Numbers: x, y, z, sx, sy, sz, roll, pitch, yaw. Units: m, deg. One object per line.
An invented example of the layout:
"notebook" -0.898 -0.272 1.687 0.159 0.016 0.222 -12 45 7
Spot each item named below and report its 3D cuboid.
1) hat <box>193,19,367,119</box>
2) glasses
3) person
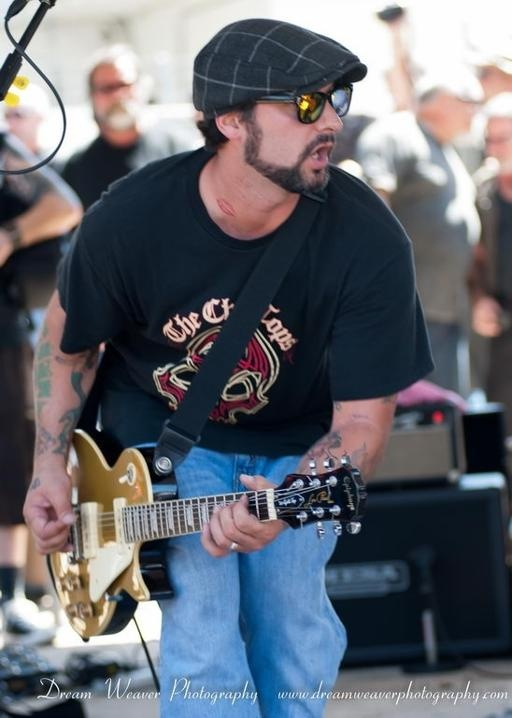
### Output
"hat" 0.038 -0.675 2.180 0.360 0.153 0.225 3 37 30
"glasses" 0.142 -0.602 2.130 0.148 0.046 0.143 7 16 40
"person" -0.118 -0.033 2.316 1.083 1.842 0.728 -5 7 12
